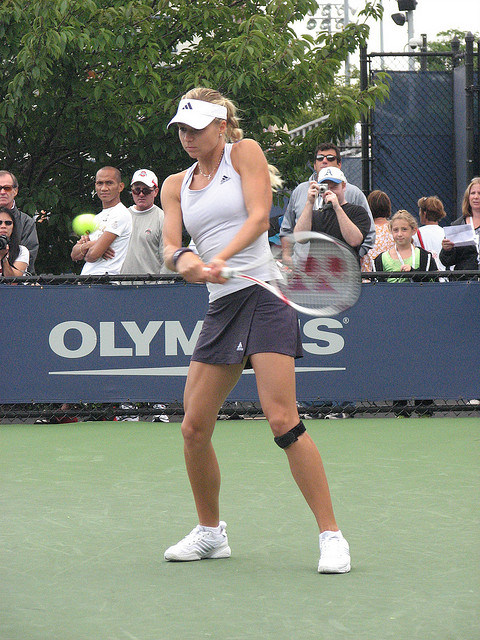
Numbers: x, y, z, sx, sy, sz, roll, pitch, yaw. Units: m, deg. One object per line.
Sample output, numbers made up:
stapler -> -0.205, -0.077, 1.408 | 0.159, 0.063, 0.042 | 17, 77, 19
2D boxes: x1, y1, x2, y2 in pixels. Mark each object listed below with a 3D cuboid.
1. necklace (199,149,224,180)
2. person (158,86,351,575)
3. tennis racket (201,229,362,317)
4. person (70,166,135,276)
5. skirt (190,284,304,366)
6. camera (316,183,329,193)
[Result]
necklace -> -0.111, -0.608, 3.632 | 0.106, 0.114, 0.053 | -2, 5, 10
person -> 0.001, 0.024, 3.634 | 0.699, 1.874, 0.587 | -4, 5, -4
tennis racket -> 0.156, -0.186, 3.704 | 0.595, 0.187, 0.041 | -2, 6, -16
person -> -1.108, -0.820, 7.557 | 0.520, 0.898, 0.620 | -4, 5, -8
skirt -> 0.048, -0.004, 3.677 | 0.530, 0.314, 0.301 | -7, -12, 31
camera -> 0.555, -0.899, 6.331 | 0.111, 0.080, 0.054 | 0, -7, 1
